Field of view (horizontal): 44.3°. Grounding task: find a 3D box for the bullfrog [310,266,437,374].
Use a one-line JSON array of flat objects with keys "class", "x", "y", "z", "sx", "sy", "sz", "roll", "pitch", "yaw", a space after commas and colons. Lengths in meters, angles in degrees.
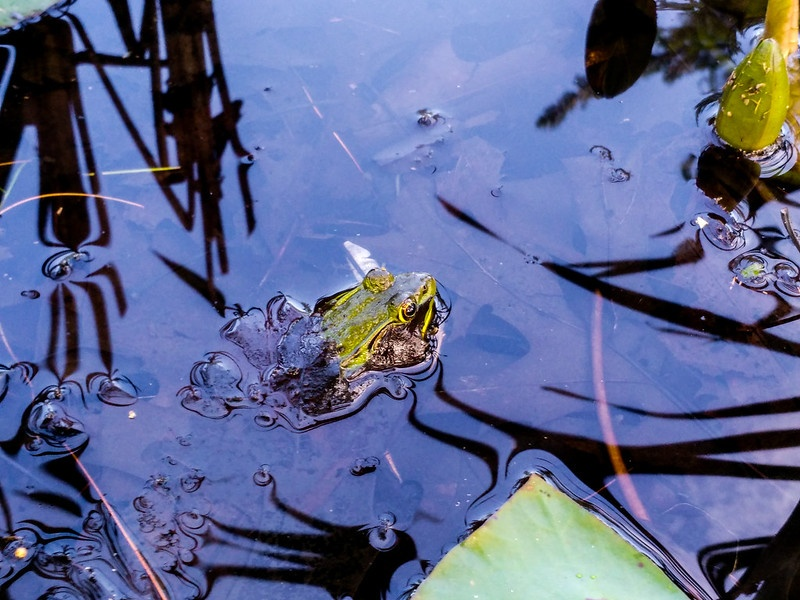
[{"class": "bullfrog", "x": -0.173, "y": 0.162, "z": 7.796, "sx": 0.958, "sy": 0.541, "sz": 0.664, "roll": -11, "pitch": 44, "yaw": -8}]
